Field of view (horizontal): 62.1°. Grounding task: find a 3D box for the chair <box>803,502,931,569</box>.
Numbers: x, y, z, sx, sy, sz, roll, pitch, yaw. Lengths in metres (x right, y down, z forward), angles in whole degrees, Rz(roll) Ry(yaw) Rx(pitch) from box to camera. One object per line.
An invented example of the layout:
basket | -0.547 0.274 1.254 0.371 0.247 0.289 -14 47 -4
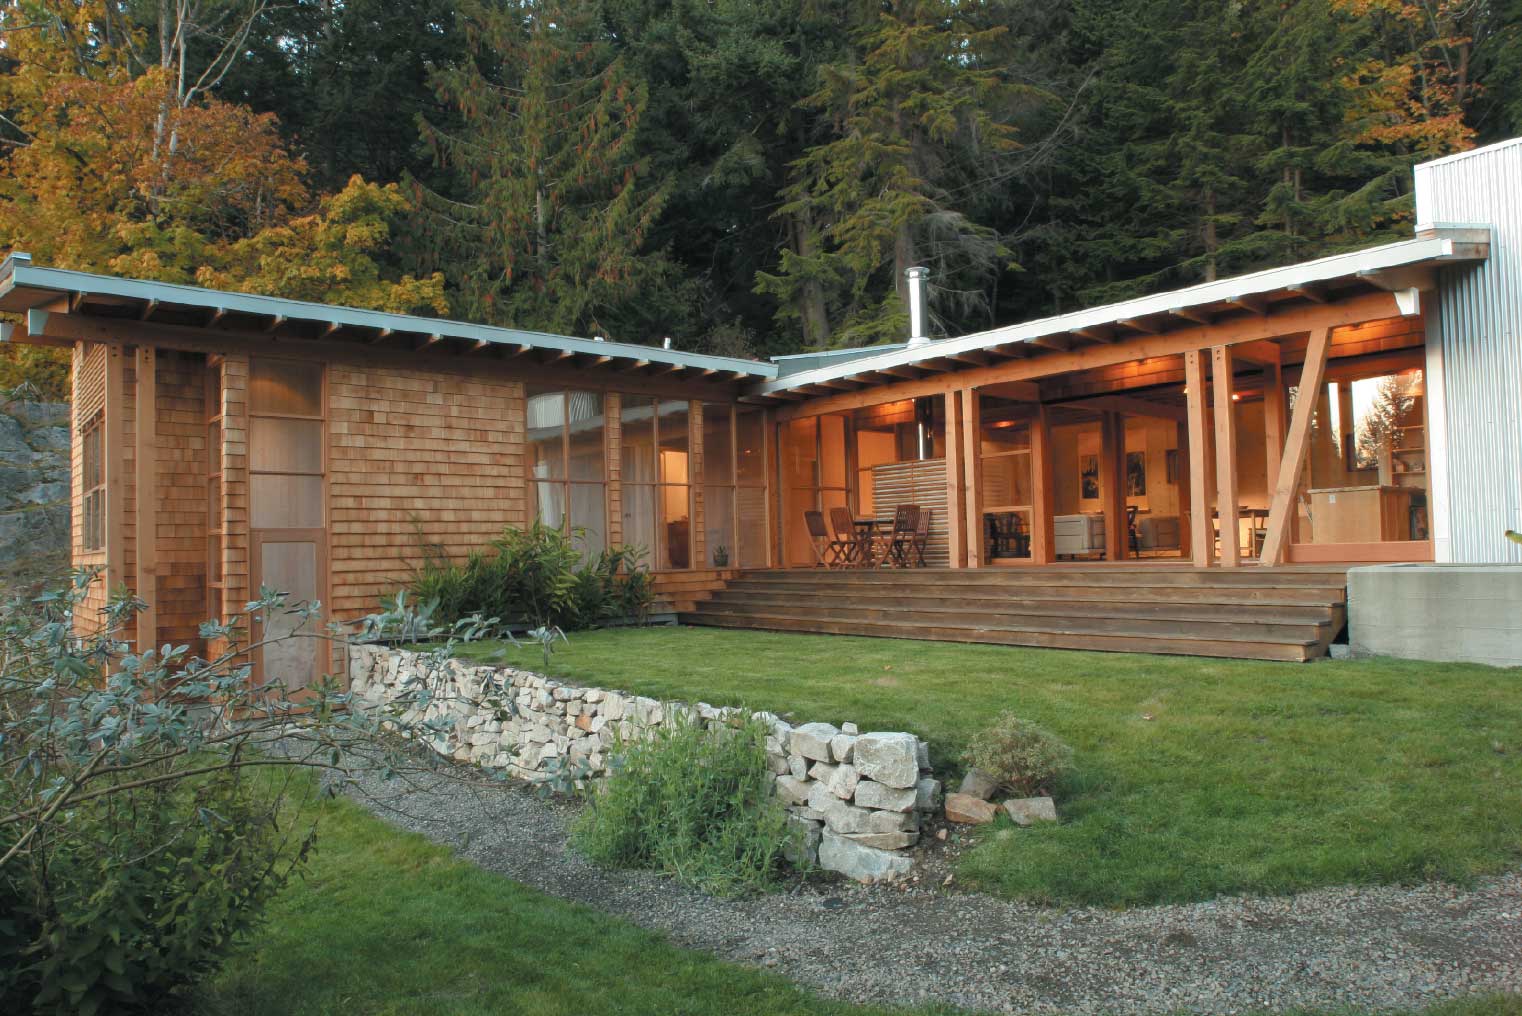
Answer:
chair | 1.745 0.488 21.120 0.997 0.878 1.829 1 -2 -44
